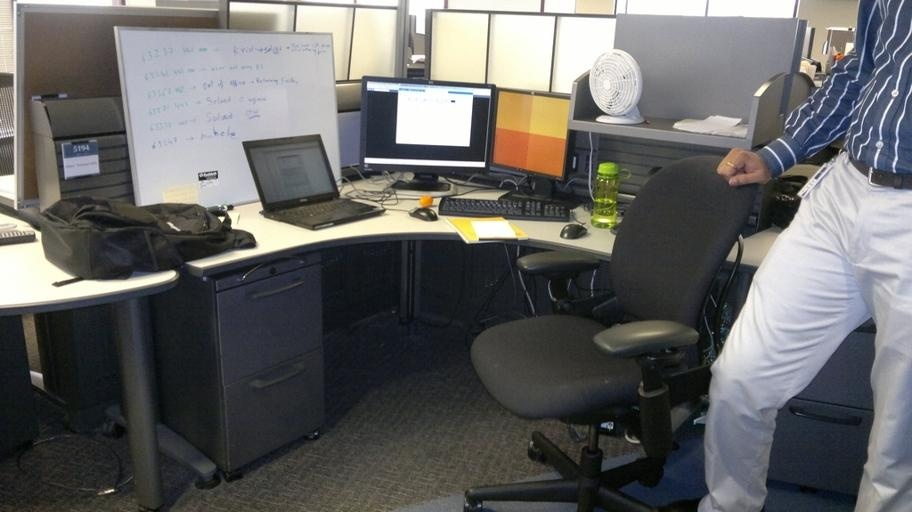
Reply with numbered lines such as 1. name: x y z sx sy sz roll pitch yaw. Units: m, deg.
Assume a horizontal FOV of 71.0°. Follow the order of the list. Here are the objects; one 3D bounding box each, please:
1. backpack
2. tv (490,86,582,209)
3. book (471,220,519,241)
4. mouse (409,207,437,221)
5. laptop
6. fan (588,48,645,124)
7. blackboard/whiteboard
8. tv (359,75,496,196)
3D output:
1. backpack: -1.303 -0.169 2.681 0.452 0.190 0.640 20 22 41
2. tv: 0.446 -0.595 3.464 0.647 0.680 0.263 9 11 18
3. book: 0.190 -0.127 3.161 0.137 0.029 0.130 4 28 -14
4. mouse: -0.161 -0.213 3.248 0.119 0.039 0.071 14 26 27
5. laptop: -0.717 -0.364 3.209 0.584 0.379 0.558 18 26 35
6. fan: 0.799 -0.831 3.170 0.267 0.363 0.363 -15 19 -39
7. blackboard/whiteboard: -1.179 -0.674 3.156 1.067 0.706 0.042 -6 9 -34
8. tv: -0.166 -0.660 3.508 0.739 0.525 0.266 2 14 -4
